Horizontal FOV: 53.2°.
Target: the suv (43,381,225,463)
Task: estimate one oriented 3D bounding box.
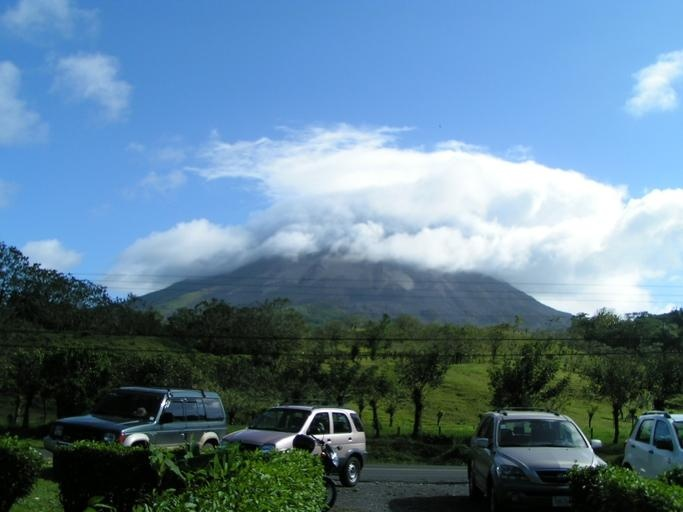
[{"bbox_3d":[-6.686,5.796,23.474,5.892,2.156,2.685,4,9,-38],"label":"suv"}]
